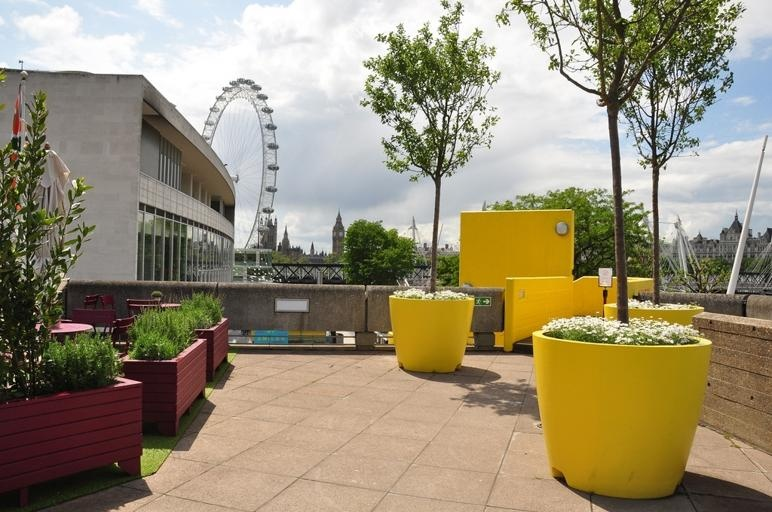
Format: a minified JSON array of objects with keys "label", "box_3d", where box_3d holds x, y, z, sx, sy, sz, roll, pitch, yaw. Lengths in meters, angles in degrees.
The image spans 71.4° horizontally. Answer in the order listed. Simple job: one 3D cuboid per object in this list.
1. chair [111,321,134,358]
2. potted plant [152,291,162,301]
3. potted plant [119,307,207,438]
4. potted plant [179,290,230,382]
[{"label":"chair","box_3d":[-5.095,1.478,10.291,0.360,0.543,0.348,12,-19,-26]},{"label":"potted plant","box_3d":[-5.709,0.999,13.366,0.203,0.220,0.205,2,2,-2]},{"label":"potted plant","box_3d":[-3.445,1.756,8.578,0.751,1.738,2.478,-3,0,-11]},{"label":"potted plant","box_3d":[-3.593,1.626,10.641,0.833,1.585,1.696,-4,3,-6]}]
